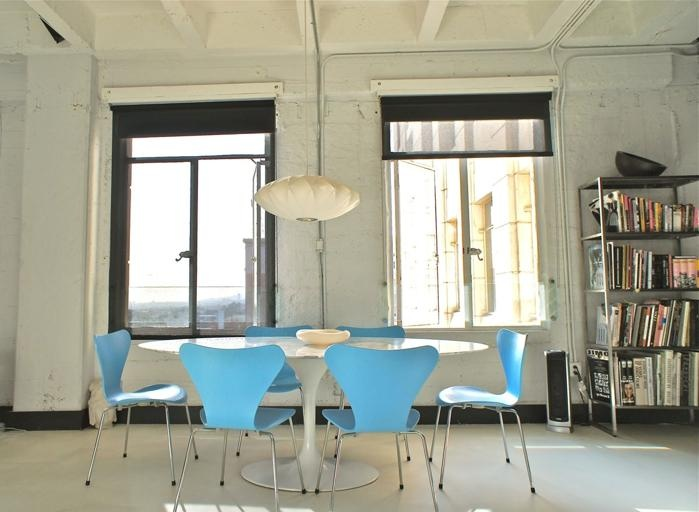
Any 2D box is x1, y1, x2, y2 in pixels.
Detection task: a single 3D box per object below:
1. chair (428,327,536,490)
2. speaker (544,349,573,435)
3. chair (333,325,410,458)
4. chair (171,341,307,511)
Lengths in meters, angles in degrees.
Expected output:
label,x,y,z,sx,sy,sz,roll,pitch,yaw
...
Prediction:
label,x,y,z,sx,sy,sz,roll,pitch,yaw
chair,1.021,1.174,5.164,0.711,1.111,0.675,1,-2,-2
speaker,1.927,1.251,6.095,0.214,0.742,0.182,-2,-3,15
chair,0.239,1.075,5.950,0.875,1.424,0.944,0,-4,2
chair,-0.811,1.209,4.662,0.746,1.199,0.410,-1,-3,-4
